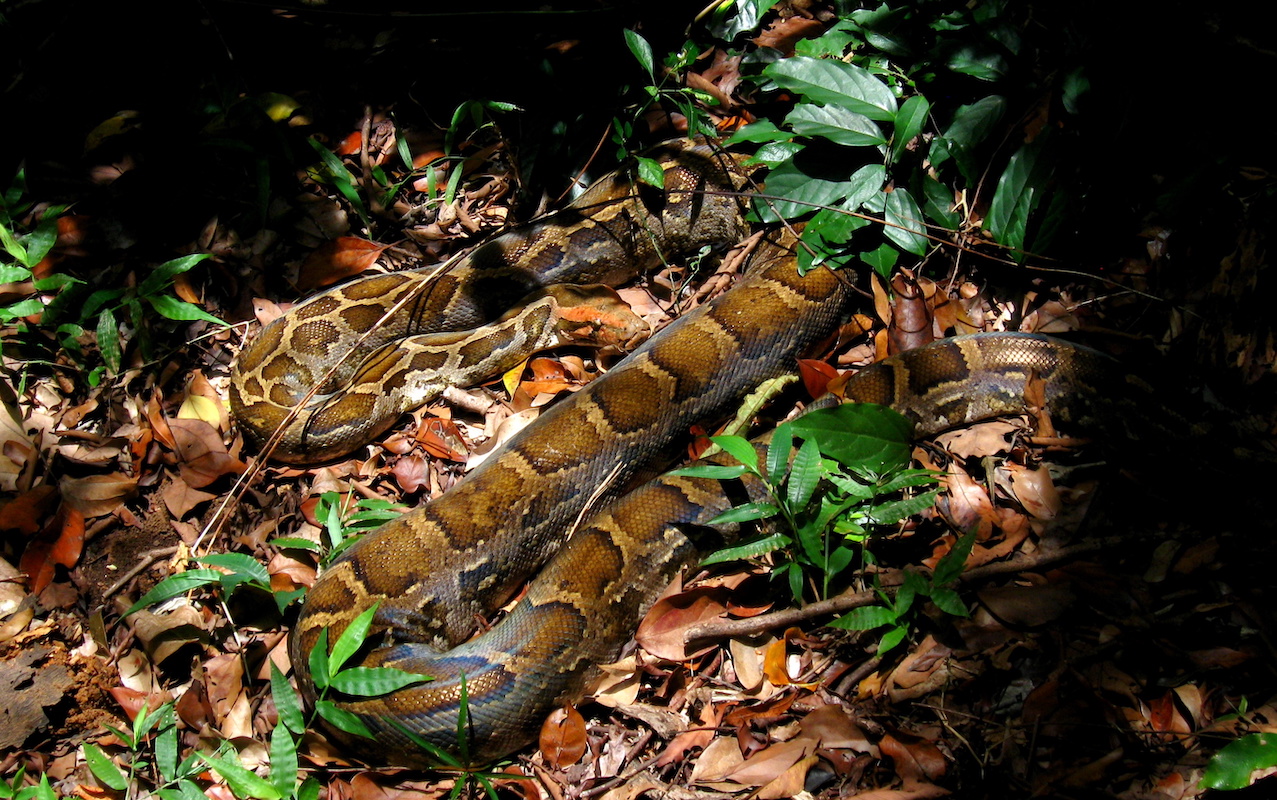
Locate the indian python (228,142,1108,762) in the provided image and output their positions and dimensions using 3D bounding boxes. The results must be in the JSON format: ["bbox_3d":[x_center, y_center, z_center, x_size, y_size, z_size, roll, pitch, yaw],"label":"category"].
[{"bbox_3d":[-0.355,0.694,8.324,6.104,0.880,3.813,-34,61,-12],"label":"indian python"}]
